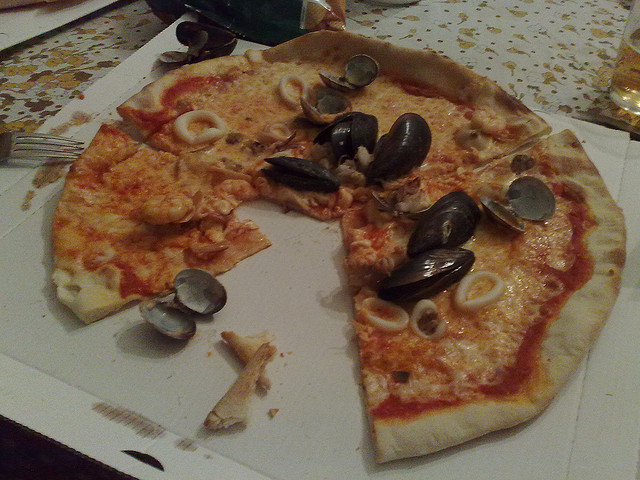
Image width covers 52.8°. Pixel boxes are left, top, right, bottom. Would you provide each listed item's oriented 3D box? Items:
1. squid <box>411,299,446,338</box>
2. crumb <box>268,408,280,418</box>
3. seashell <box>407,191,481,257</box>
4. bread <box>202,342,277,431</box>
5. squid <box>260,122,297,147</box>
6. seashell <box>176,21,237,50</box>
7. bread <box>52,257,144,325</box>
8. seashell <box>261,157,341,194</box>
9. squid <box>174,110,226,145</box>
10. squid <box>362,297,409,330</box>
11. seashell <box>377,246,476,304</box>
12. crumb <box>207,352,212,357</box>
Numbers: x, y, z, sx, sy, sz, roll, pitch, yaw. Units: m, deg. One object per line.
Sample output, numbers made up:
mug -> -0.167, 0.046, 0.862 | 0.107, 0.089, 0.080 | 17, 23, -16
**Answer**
squid -> 0.606, 0.440, 3.642 | 0.249, 0.093, 0.186 | -3, 69, 4
crumb -> -0.239, 0.934, 3.459 | 0.064, 0.014, 0.041 | -7, 55, -8
seashell -> 0.732, -0.099, 3.952 | 0.446, 0.190, 0.562 | 25, 49, 13
bread -> -0.387, 0.809, 3.500 | 0.177, 0.091, 0.571 | 31, 67, 11
squid -> -0.307, -0.761, 4.580 | 0.261, 0.061, 0.216 | 3, 26, -5
seashell -> -0.958, -1.738, 5.432 | 0.560, 0.087, 0.216 | 0, 71, -9
bread -> -1.391, 0.302, 3.800 | 0.473, 0.079, 0.335 | 38, 69, 15
seashell -> -0.202, -0.408, 4.368 | 0.568, 0.242, 0.116 | 6, 72, 0
squid -> -0.857, -0.816, 4.602 | 0.350, 0.106, 0.316 | -11, 66, -7
squid -> 0.371, 0.429, 3.731 | 0.289, 0.033, 0.155 | 26, 59, 14
seashell -> 0.620, 0.215, 3.723 | 0.731, 0.176, 0.487 | -4, 17, -8
crumb -> -0.621, 0.652, 3.644 | 0.033, 0.007, 0.020 | 2, 57, -7
